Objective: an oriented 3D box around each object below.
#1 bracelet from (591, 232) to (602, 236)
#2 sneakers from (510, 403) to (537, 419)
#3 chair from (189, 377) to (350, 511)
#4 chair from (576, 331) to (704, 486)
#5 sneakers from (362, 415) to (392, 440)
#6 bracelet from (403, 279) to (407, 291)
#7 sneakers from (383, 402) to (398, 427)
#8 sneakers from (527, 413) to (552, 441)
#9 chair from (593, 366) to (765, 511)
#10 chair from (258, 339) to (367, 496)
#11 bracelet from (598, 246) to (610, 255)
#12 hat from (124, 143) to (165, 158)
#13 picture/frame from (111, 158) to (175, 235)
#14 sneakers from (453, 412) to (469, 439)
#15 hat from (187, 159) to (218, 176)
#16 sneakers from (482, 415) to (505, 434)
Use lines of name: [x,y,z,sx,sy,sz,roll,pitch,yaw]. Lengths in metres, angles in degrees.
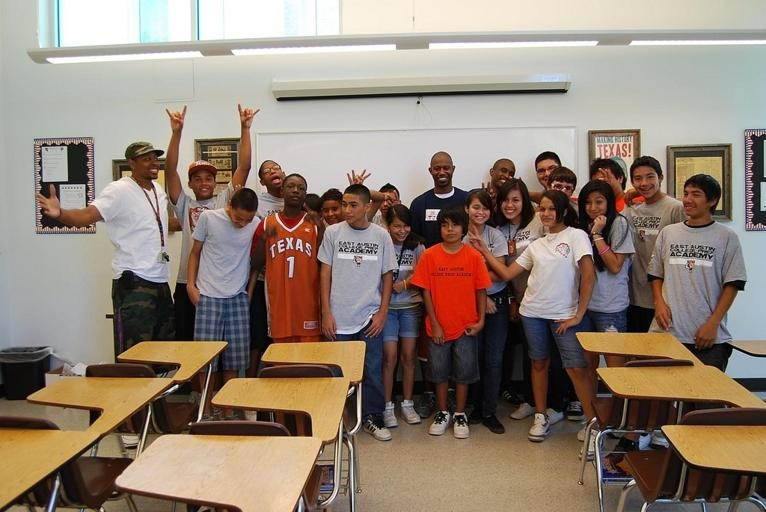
bracelet: [1.721,-0.180,4.843,0.067,0.032,0.042,0,7,7]
sneakers: [1.254,1.383,5.411,0.272,0.106,0.098,-2,0,-38]
chair: [-0.629,1.073,3.995,0.939,0.861,0.791,2,19,7]
chair: [1.755,1.040,4.280,0.885,0.671,0.731,-1,6,0]
sneakers: [-0.039,1.452,5.114,0.110,0.128,0.302,-1,0,-34]
bracelet: [0.198,0.244,5.210,0.039,0.081,0.023,-1,7,3]
sneakers: [0.069,1.382,5.184,0.083,0.103,0.232,0,0,-4]
sneakers: [1.274,1.427,4.969,0.110,0.123,0.280,-1,-2,20]
chair: [1.868,1.154,3.993,0.730,0.825,0.866,-3,9,-7]
chair: [-0.400,1.092,4.483,0.896,1.353,0.981,0,10,2]
bracelet: [1.771,-0.044,4.819,0.083,0.071,0.037,-3,7,-15]
hat: [-1.940,-0.841,4.890,0.250,0.093,0.176,-7,4,0]
picture/frame: [-2.350,-0.615,5.954,0.559,0.742,0.035,-3,-24,-24]
sneakers: [0.652,1.422,4.994,0.087,0.099,0.235,-1,-3,1]
hat: [-1.614,-0.786,5.400,0.223,0.129,0.148,-6,9,-38]
sneakers: [0.951,1.446,5.169,0.093,0.074,0.190,-1,-1,-30]
